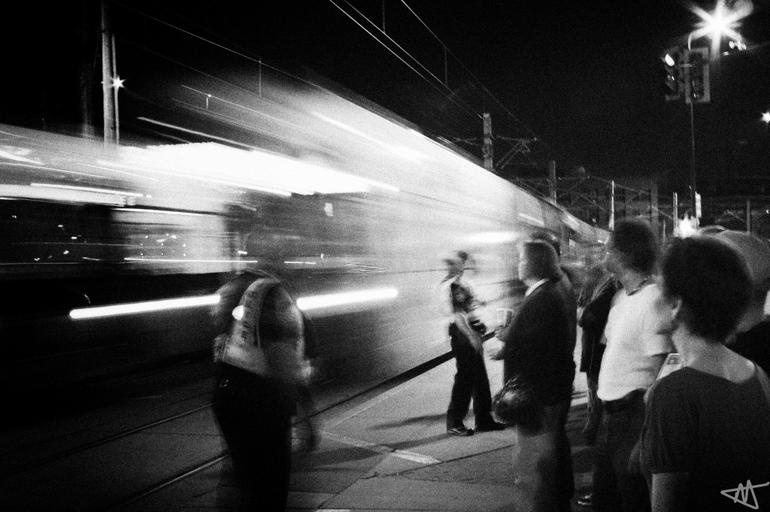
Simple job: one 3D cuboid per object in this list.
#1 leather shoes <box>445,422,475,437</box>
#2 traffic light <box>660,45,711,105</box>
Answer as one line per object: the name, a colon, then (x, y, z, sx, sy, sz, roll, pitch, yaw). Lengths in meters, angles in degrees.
leather shoes: (0.881, 2.025, 6.948, 0.279, 0.117, 0.126, -1, -3, 10)
traffic light: (4.939, -2.974, 9.689, 0.732, 0.924, 0.473, 4, 2, 17)
